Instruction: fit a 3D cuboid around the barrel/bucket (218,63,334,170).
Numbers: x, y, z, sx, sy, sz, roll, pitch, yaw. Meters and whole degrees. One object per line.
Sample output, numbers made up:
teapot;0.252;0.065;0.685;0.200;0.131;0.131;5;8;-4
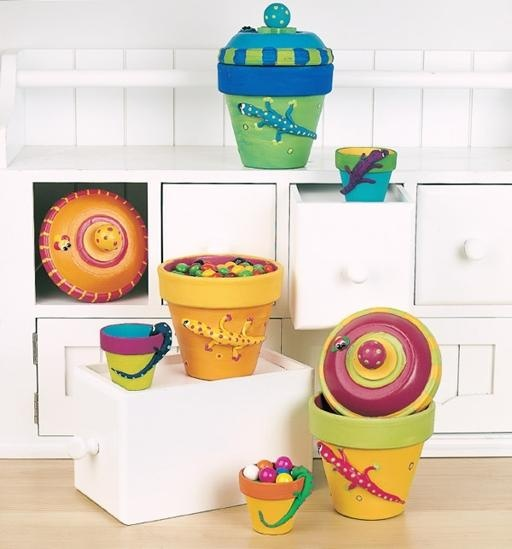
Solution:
barrel/bucket;0.037;-0.346;1.459;0.265;0.216;0.264;-2;17;0

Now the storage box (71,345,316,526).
storage box;-0.096;0.287;1.125;0.400;0.222;0.258;-5;12;-29

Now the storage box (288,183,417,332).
storage box;0.164;-0.022;1.310;0.208;0.220;0.274;0;6;-1

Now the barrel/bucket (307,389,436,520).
barrel/bucket;0.192;0.317;1.133;0.209;0.200;0.137;2;11;8
